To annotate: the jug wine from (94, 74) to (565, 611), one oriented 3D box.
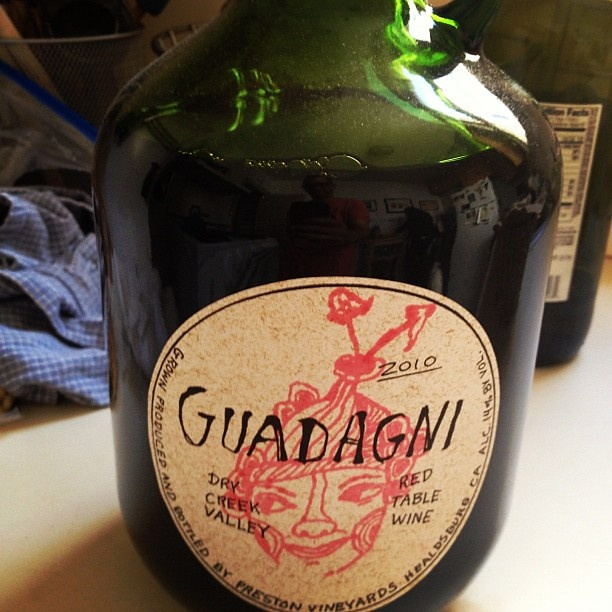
[{"bbox_3d":[0.030,-0.002,0.403,0.245,0.223,0.255,-3,-61,-8],"label":"jug wine"}]
